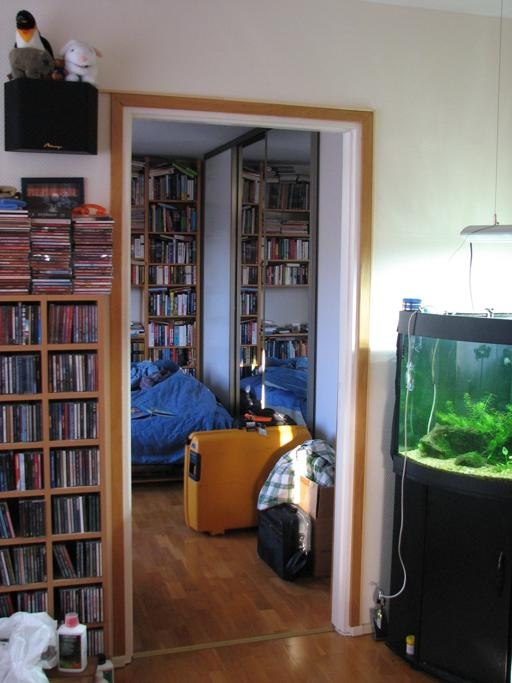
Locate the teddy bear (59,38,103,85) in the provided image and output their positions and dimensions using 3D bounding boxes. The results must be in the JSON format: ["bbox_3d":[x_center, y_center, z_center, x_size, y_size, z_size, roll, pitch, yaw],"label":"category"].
[{"bbox_3d":[-0.555,-0.881,1.821,0.121,0.138,0.103,-2,26,-21],"label":"teddy bear"}]

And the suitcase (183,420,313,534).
[{"bbox_3d":[-0.044,0.794,3.305,0.618,0.506,0.222,-2,12,-13],"label":"suitcase"}]

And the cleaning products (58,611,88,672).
[{"bbox_3d":[-0.569,0.933,1.784,0.089,0.173,0.087,1,2,-15],"label":"cleaning products"}]
